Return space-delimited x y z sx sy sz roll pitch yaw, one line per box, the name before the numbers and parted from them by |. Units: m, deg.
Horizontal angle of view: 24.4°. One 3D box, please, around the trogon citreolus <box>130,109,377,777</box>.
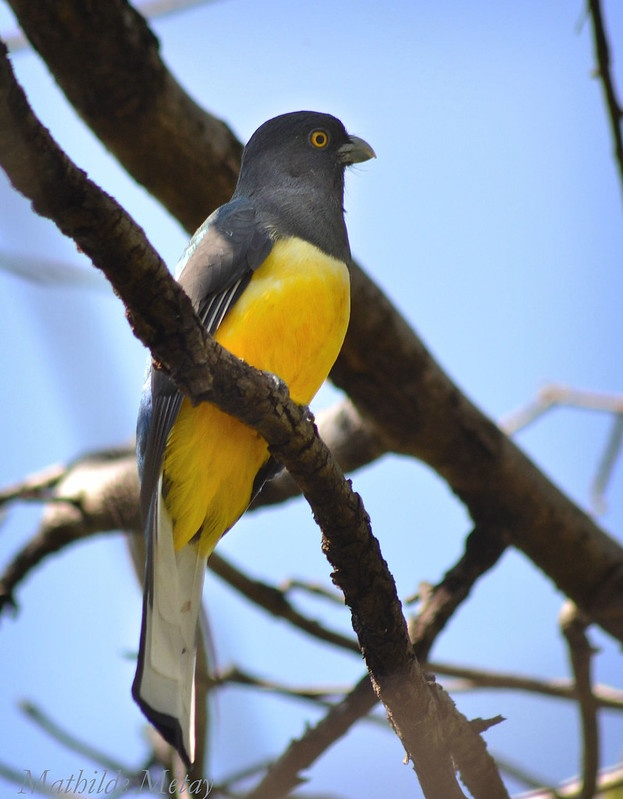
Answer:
trogon citreolus | -0.291 -0.008 5.618 0.722 2.726 1.221 18 -48 -8
